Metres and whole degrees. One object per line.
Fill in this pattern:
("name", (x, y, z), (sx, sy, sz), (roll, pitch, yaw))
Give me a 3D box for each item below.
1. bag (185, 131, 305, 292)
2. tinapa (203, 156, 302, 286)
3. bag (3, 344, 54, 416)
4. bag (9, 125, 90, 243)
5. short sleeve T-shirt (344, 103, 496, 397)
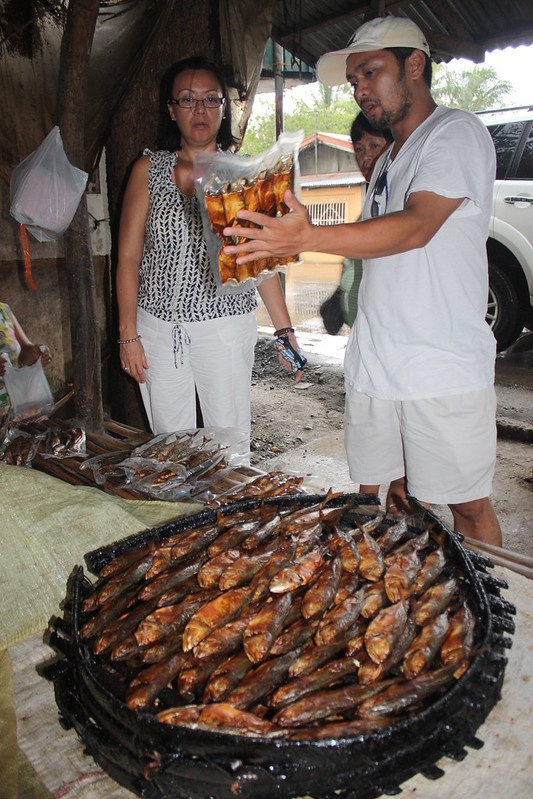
("bag", (-0.072, -0.428, 1.468), (0.346, 0.365, 0.098), (-13, 15, -39))
("tinapa", (-0.054, -0.408, 1.442), (0.281, 0.285, 0.101), (-20, 25, -24))
("bag", (-1.379, -0.076, 3.529), (0.119, 0.364, 0.280), (7, 17, 38))
("bag", (-1.184, -1.167, 3.312), (0.414, 0.572, 0.260), (-8, 14, -14))
("short sleeve T-shirt", (0.577, -0.486, 2.163), (0.436, 1.019, 0.722), (-8, 14, -13))
